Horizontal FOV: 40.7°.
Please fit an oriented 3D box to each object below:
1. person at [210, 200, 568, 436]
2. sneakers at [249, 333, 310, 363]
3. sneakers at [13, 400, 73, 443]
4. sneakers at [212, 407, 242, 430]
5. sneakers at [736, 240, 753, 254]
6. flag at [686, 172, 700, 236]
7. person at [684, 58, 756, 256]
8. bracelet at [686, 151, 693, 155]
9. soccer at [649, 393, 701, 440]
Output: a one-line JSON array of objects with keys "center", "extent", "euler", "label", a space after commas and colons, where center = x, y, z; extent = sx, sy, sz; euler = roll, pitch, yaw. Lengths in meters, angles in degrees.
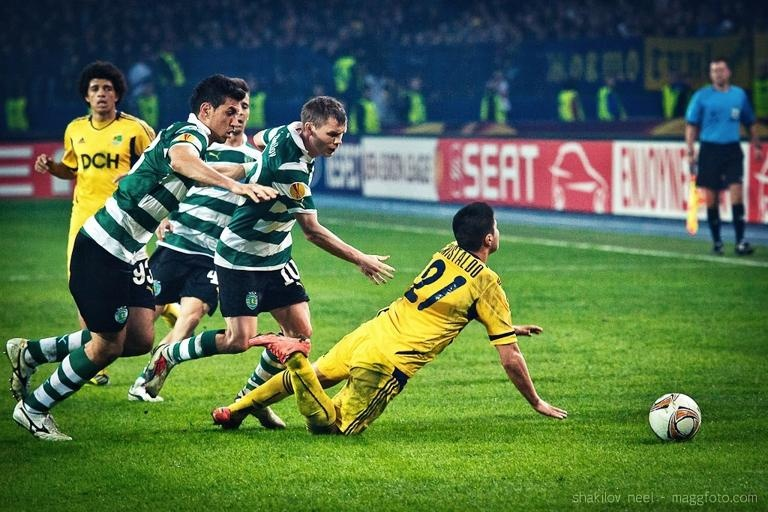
[{"center": [0.065, 0.451, 7.048], "extent": [2.489, 1.445, 1.086], "euler": [-10, 23, -25], "label": "person"}, {"center": [-0.664, 0.576, 6.780], "extent": [0.270, 0.126, 0.228], "euler": [7, 3, 16], "label": "sneakers"}, {"center": [-2.347, 1.135, 7.073], "extent": [0.331, 0.130, 0.111], "euler": [29, 23, -9], "label": "sneakers"}, {"center": [-1.071, 1.103, 7.102], "extent": [0.183, 0.139, 0.180], "euler": [-7, 7, -41], "label": "sneakers"}, {"center": [2.783, -0.059, 7.963], "extent": [0.161, 0.099, 0.049], "euler": [-5, 13, -12], "label": "sneakers"}, {"center": [2.391, -0.383, 7.983], "extent": [0.100, 0.456, 0.104], "euler": [2, 14, 19], "label": "flag"}, {"center": [2.709, -0.788, 8.112], "extent": [0.768, 1.450, 0.438], "euler": [-8, 14, -24], "label": "person"}, {"center": [2.387, -0.792, 8.038], "extent": [0.027, 0.039, 0.012], "euler": [6, 2, 36], "label": "bracelet"}, {"center": [1.912, 1.095, 6.970], "extent": [0.326, 0.325, 0.297], "euler": [-1, -12, -5], "label": "soccer"}]
